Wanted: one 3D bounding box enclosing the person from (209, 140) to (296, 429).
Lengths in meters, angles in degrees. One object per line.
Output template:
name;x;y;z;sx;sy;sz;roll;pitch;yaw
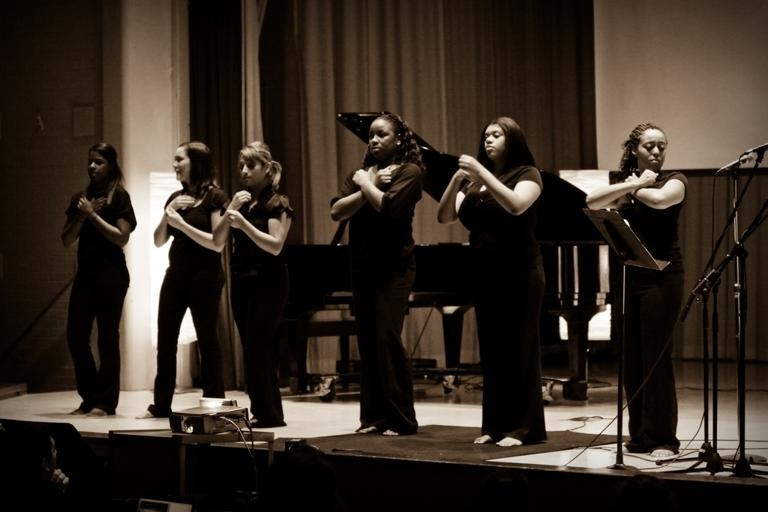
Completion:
person;-1.053;0.251;7.222;0.590;2.344;0.388;1;-1;-12

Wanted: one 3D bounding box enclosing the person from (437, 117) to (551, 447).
person;0.825;0.186;6.585;0.715;2.441;0.545;0;-1;23

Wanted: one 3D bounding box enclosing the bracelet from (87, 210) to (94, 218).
bracelet;-2.639;-0.375;7.899;0.068;0.053;0.069;2;-9;10

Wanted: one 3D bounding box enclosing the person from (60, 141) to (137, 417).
person;-2.630;0.214;8.075;0.637;2.474;0.418;1;-1;-17

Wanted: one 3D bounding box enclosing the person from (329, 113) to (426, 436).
person;-0.038;0.121;6.949;0.664;2.547;0.426;1;-1;2
